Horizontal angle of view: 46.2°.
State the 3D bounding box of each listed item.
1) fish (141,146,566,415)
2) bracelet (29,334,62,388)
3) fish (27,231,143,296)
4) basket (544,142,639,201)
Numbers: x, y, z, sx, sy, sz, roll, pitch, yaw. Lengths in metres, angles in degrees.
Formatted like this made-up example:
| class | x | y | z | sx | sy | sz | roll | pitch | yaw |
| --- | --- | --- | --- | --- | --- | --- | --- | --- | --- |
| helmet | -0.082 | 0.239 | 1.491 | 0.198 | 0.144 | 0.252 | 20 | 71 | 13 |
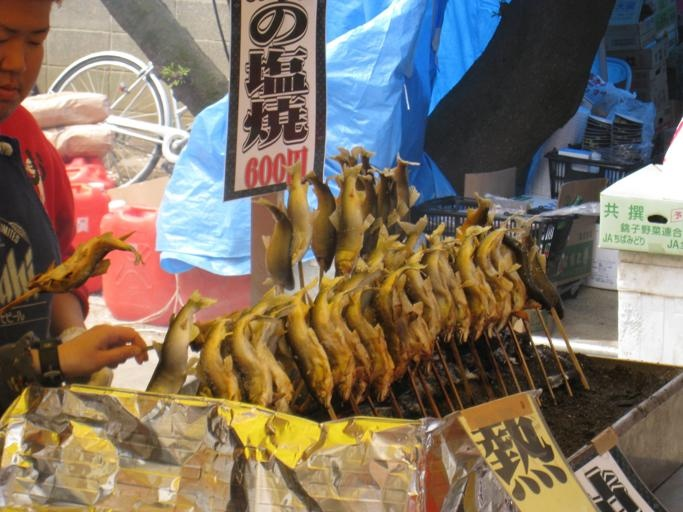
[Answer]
| class | x | y | z | sx | sy | sz | roll | pitch | yaw |
| --- | --- | --- | --- | --- | --- | --- | --- | --- | --- |
| fish | 0.068 | 0.097 | 3.422 | 1.908 | 1.054 | 0.705 | 0 | 8 | -37 |
| bracelet | -1.150 | 0.414 | 3.128 | 0.119 | 0.197 | 0.113 | 1 | 8 | -26 |
| fish | -0.919 | 0.017 | 2.945 | 0.296 | 0.248 | 0.358 | 7 | 13 | 33 |
| basket | 2.048 | -0.716 | 6.655 | 0.569 | 0.338 | 0.410 | 4 | 10 | 27 |
